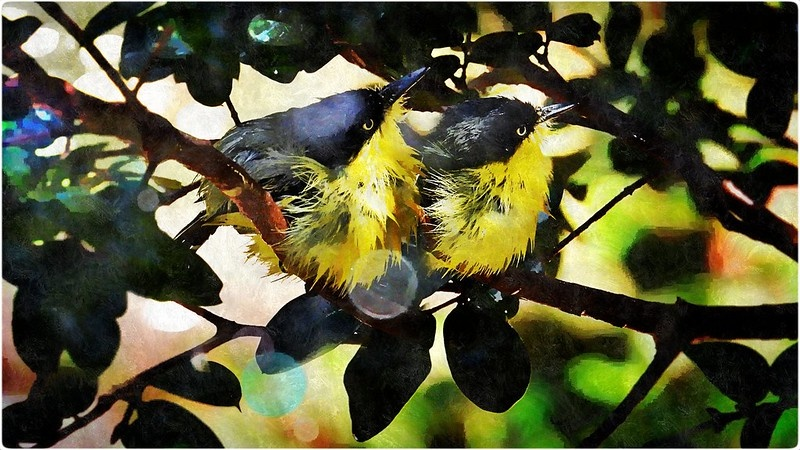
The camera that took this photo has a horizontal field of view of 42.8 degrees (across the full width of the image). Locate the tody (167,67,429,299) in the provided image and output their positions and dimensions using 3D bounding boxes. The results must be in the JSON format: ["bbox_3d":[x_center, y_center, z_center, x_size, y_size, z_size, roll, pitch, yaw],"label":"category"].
[{"bbox_3d":[-0.330,-0.155,3.004,0.879,0.615,0.542,6,29,20],"label":"tody"}]
